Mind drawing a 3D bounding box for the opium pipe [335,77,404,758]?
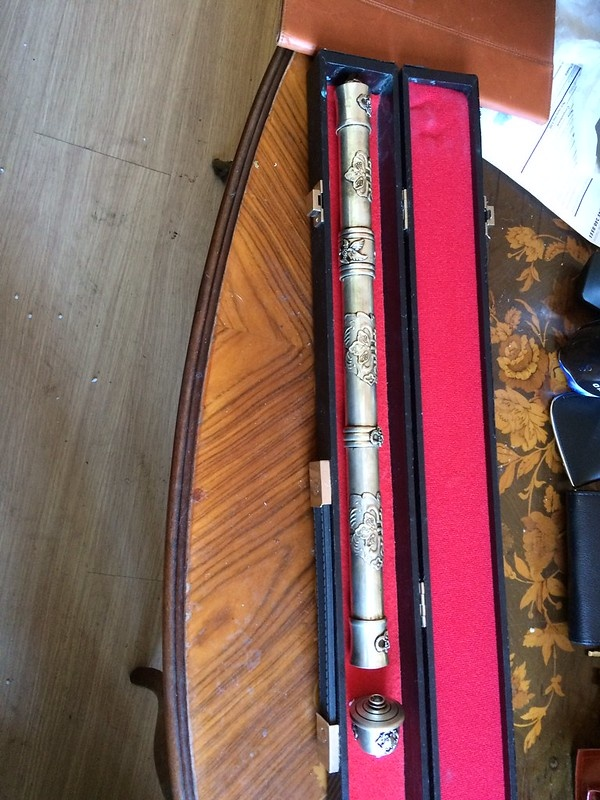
[{"bbox_3d":[0.051,0.017,0.939,0.078,0.080,0.757,-1,85,-13],"label":"opium pipe"}]
